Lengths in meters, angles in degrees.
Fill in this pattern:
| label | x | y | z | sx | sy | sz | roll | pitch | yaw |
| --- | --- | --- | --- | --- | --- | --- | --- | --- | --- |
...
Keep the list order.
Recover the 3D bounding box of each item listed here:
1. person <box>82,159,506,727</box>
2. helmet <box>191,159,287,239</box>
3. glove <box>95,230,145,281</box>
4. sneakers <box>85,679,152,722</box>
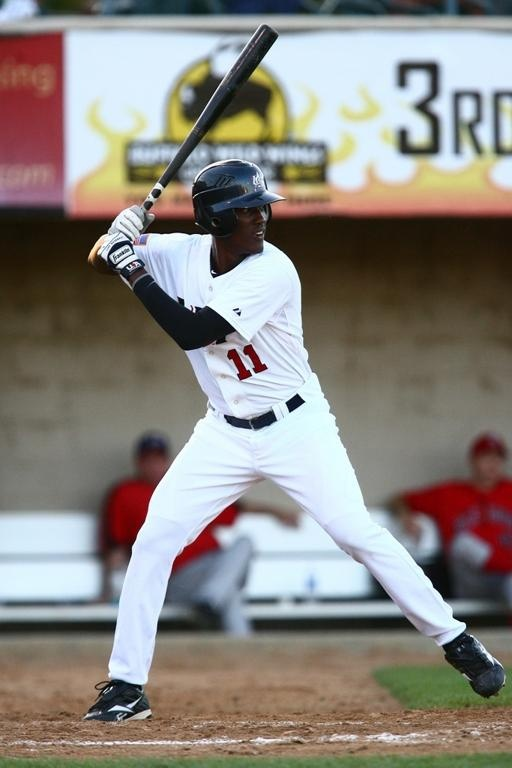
| label | x | y | z | sx | sy | sz | roll | pitch | yaw |
| --- | --- | --- | --- | --- | --- | --- | --- | --- | --- |
| person | 0.032 | 0.121 | 2.538 | 0.871 | 1.255 | 0.544 | -1 | 16 | -6 |
| helmet | -0.070 | -0.425 | 2.510 | 0.232 | 0.144 | 0.171 | 1 | 4 | 32 |
| glove | -0.299 | -0.285 | 2.466 | 0.141 | 0.084 | 0.062 | 38 | 1 | 37 |
| sneakers | -0.305 | 0.722 | 2.491 | 0.212 | 0.095 | 0.066 | 0 | -8 | -1 |
